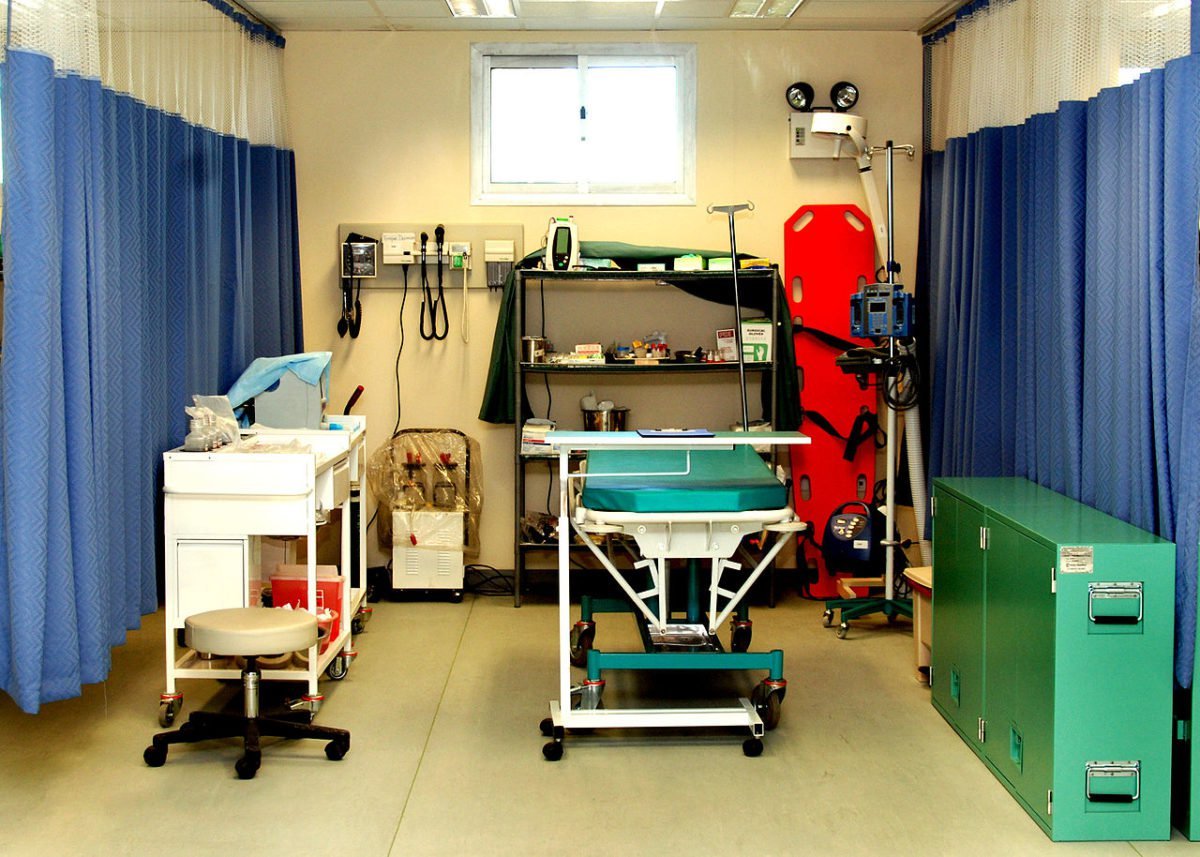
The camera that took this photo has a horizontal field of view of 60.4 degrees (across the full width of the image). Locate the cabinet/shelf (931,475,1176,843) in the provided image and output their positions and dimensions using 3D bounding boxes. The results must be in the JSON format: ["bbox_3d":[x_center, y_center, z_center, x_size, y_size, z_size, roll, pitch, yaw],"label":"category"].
[{"bbox_3d":[1.718,0.893,3.845,0.404,0.884,1.267,0,3,3],"label":"cabinet/shelf"}]

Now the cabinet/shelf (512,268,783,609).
[{"bbox_3d":[0.241,0.001,5.513,2.004,2.281,0.684,0,2,-3],"label":"cabinet/shelf"}]

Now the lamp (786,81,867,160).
[{"bbox_3d":[1.359,-1.850,6.208,0.559,0.565,0.406,0,2,-3],"label":"lamp"}]

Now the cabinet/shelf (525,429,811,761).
[{"bbox_3d":[0.273,0.582,4.770,1.149,1.315,2.024,1,0,1],"label":"cabinet/shelf"}]

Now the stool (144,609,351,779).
[{"bbox_3d":[-1.420,1.038,4.265,0.771,0.629,0.522,3,11,11],"label":"stool"}]

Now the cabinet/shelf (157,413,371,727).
[{"bbox_3d":[-1.533,0.651,4.593,0.525,0.861,1.341,0,2,-5],"label":"cabinet/shelf"}]
